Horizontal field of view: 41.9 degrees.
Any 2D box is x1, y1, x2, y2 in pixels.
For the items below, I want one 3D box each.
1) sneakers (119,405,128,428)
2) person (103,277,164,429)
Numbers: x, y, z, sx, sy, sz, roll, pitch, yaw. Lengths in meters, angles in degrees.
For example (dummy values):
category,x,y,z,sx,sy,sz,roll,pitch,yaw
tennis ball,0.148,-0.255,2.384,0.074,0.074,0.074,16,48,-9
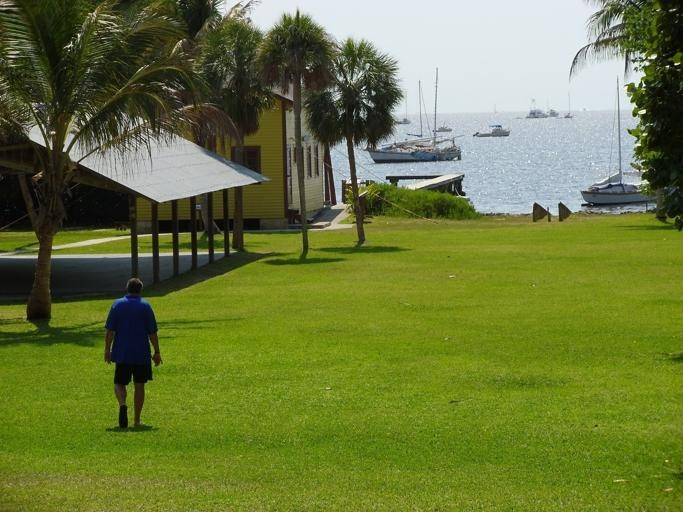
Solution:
category,x,y,z,sx,sy,sz,roll,pitch,yaw
sneakers,-3.153,2.318,12.859,0.118,0.331,0.138,2,3,-11
person,-3.042,1.409,12.947,0.766,2.109,0.554,-3,4,-6
